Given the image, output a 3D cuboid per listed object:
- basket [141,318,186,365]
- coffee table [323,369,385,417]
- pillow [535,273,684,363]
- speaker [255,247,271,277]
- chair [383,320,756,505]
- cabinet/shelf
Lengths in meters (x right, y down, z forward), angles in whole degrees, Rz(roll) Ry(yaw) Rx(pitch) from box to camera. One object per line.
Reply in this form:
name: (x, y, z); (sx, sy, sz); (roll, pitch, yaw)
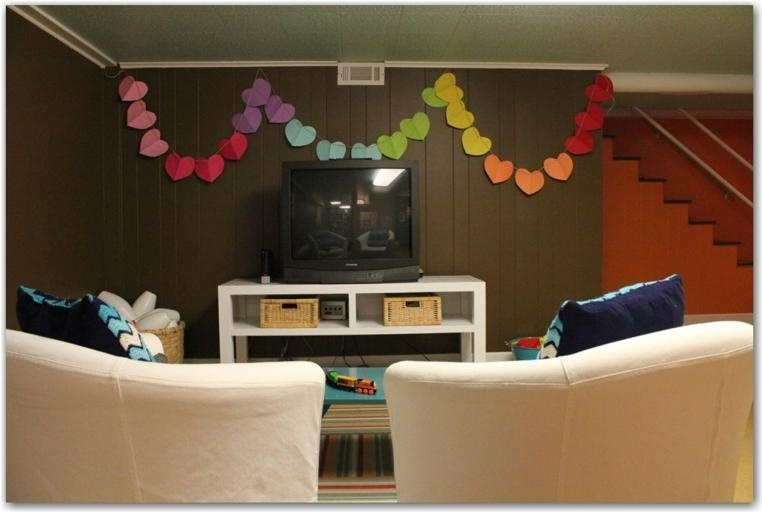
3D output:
basket: (-1.519, 0.630, 4.761); (0.409, 0.306, 0.412); (1, -4, -3)
coffee table: (-0.165, 0.827, 4.149); (0.367, 0.196, 0.560); (0, -6, -1)
pillow: (1.136, 0.317, 3.340); (0.489, 0.296, 0.154); (-13, 25, -16)
speaker: (-0.891, 0.055, 5.026); (0.105, 0.241, 0.323); (1, -5, -11)
chair: (0.750, 0.552, 3.100); (0.998, 1.198, 1.035); (-2, 1, -10)
cabinet/shelf: (-0.214, 0.621, 5.027); (1.916, 0.929, 0.537); (0, 6, -1)
